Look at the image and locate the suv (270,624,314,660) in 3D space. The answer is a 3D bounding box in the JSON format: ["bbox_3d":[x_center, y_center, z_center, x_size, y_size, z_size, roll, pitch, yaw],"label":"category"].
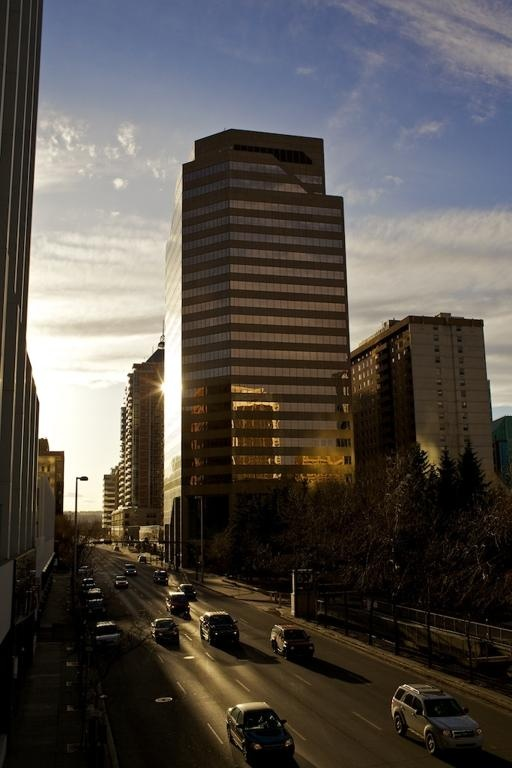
[{"bbox_3d":[1.747,12.385,34.781,1.089,1.031,2.044,5,-31,-7],"label":"suv"}]

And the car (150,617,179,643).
[{"bbox_3d":[-4.911,13.601,39.543,1.152,1.003,2.528,0,-2,-26],"label":"car"}]

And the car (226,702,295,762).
[{"bbox_3d":[0.100,9.636,19.849,1.199,1.155,2.186,0,-2,-21],"label":"car"}]

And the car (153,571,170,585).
[{"bbox_3d":[-10.966,22.116,83.370,1.243,1.411,2.437,5,0,-11],"label":"car"}]

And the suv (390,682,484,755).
[{"bbox_3d":[5.307,9.916,21.045,1.173,1.499,3.413,0,-2,-16],"label":"suv"}]

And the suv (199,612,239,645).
[{"bbox_3d":[-1.922,13.387,39.325,1.521,1.486,3.027,0,-2,-19],"label":"suv"}]
